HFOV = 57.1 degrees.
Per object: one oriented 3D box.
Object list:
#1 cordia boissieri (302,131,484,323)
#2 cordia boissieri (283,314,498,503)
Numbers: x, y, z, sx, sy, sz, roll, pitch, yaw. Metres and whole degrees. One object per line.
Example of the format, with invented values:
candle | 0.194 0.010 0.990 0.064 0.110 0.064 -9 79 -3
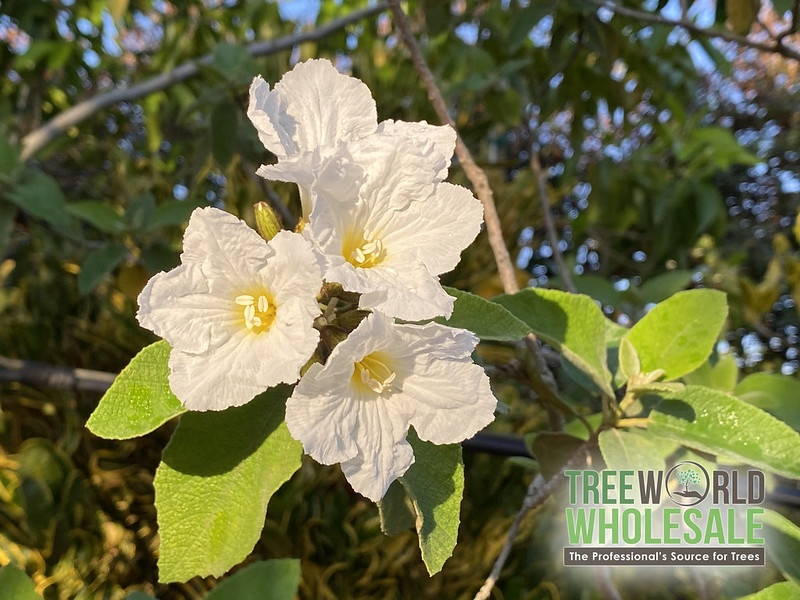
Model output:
cordia boissieri | -0.008 -0.168 1.421 0.324 0.364 0.233 13 13 4
cordia boissieri | -0.051 0.117 1.403 0.356 0.148 0.376 -1 23 22
